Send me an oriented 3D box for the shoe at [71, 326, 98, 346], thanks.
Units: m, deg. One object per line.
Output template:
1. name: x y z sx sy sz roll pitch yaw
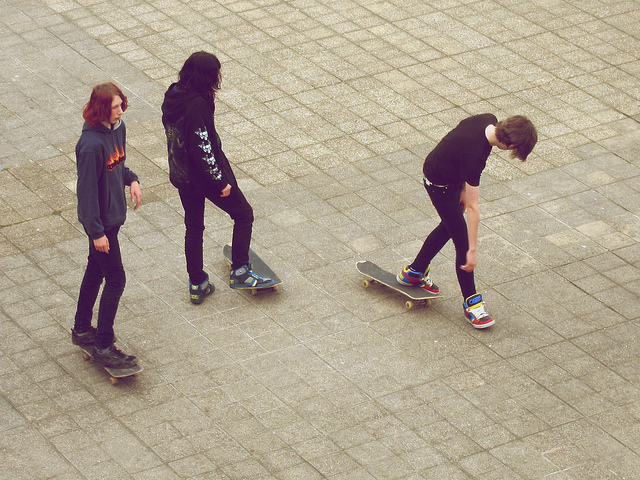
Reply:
1. shoe: -2.275 0.923 11.618 0.242 0.191 0.188 -3 38 -4

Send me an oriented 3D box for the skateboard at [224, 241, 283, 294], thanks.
1. skateboard: -0.666 0.268 12.609 0.311 0.168 1.000 -19 45 -31

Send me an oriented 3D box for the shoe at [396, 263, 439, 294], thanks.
1. shoe: 1.026 0.411 12.492 0.452 0.328 0.316 2 38 2

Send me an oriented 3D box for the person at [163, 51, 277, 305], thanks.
1. person: -1.056 -0.637 12.084 0.847 2.431 1.190 -8 41 -10

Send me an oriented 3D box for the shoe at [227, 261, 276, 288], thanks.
1. shoe: -0.711 0.377 12.421 0.328 0.277 0.419 -26 44 -30

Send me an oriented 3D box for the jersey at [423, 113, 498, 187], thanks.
1. jersey: 1.374 -0.886 11.862 0.661 0.648 0.554 18 42 21

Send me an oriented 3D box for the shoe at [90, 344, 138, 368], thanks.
1. shoe: -1.938 1.087 11.448 0.503 0.190 0.181 4 22 -1

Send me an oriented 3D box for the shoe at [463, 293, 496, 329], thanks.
1. shoe: 1.602 0.700 12.199 0.207 0.307 0.494 -20 19 -16

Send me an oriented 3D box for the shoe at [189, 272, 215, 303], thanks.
1. shoe: -1.211 0.474 12.362 0.259 0.274 0.234 -4 39 -5

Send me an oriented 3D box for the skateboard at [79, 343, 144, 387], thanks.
1. skateboard: -1.992 1.208 11.471 0.773 0.123 0.286 29 37 32
